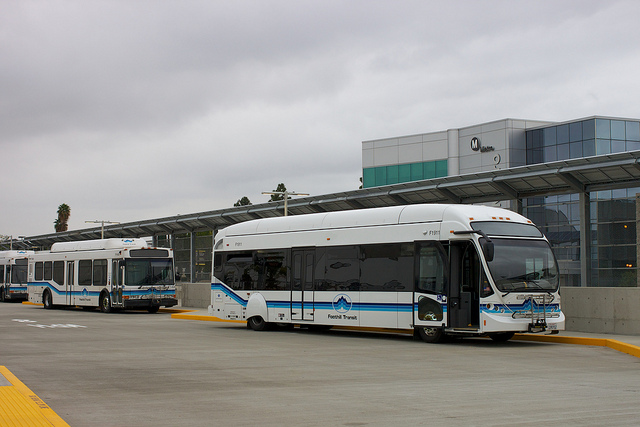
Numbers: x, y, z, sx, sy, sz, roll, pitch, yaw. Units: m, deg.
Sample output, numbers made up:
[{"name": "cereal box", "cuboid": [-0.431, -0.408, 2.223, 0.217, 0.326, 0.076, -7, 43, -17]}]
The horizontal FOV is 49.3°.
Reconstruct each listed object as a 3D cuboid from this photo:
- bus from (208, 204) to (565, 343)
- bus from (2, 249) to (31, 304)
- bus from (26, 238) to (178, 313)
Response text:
[{"name": "bus", "cuboid": [0.121, 2.340, 27.152, 4.584, 4.748, 17.429, 3, -8, -39]}, {"name": "bus", "cuboid": [-24.781, 5.037, 56.552, 2.715, 3.989, 0.999, 0, 2, 20]}, {"name": "bus", "cuboid": [-13.842, 3.752, 42.892, 3.269, 4.618, 14.329, -2, 1, -45]}]
